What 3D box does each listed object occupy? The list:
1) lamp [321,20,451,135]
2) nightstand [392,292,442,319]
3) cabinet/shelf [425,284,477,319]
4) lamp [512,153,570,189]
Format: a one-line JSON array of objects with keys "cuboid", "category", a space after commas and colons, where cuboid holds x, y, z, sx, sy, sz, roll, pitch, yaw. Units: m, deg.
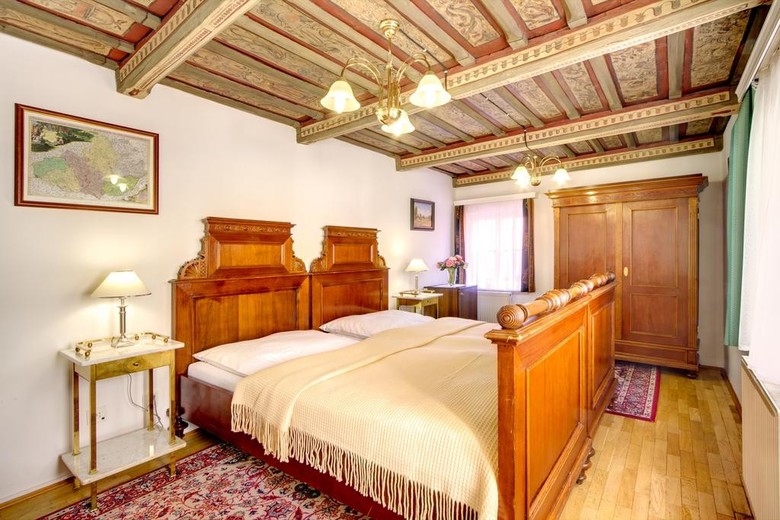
[{"cuboid": [0.009, -1.543, 4.426, 1.005, 0.975, 1.158, -1, 2, 5], "category": "lamp"}, {"cuboid": [0.391, 0.633, 7.285, 0.579, 0.518, 0.453, -2, -3, 39], "category": "nightstand"}, {"cuboid": [0.942, 0.652, 7.818, 0.558, 0.704, 0.775, -4, -4, 34], "category": "cabinet/shelf"}, {"cuboid": [2.025, -1.161, 6.540, 0.572, 0.331, 0.724, 5, 4, 31], "category": "lamp"}]
